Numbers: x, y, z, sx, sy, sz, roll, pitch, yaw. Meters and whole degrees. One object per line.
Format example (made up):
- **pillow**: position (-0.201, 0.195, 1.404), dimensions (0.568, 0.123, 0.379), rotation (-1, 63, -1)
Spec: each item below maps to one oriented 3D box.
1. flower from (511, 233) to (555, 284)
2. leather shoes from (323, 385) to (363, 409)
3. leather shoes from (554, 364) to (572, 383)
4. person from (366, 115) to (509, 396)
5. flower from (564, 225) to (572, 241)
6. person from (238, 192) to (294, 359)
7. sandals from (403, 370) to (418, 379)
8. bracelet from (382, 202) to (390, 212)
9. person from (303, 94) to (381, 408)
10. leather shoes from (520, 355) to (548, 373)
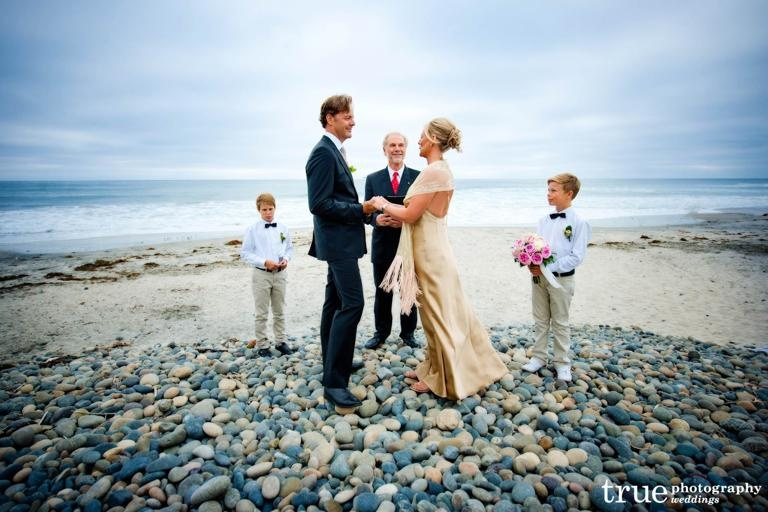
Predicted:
- **flower**: position (2.246, 0.118, 6.725), dimensions (0.672, 0.566, 0.611), rotation (1, 17, 23)
- **leather shoes**: position (-0.549, 1.886, 6.082), dimensions (0.506, 0.188, 0.232), rotation (6, 4, 32)
- **leather shoes**: position (2.598, 1.717, 6.588), dimensions (0.243, 0.223, 0.210), rotation (3, 10, 19)
- **person**: position (0.714, 0.085, 6.053), dimensions (1.579, 3.727, 0.769), rotation (2, 11, 12)
- **flower**: position (2.693, -0.333, 6.648), dimensions (0.110, 0.179, 0.061), rotation (10, -8, -20)
- **person**: position (-1.950, 0.309, 7.630), dimensions (0.799, 2.630, 0.802), rotation (-3, 11, -13)
- **sandals**: position (0.396, 1.757, 6.657), dimensions (0.195, 0.075, 0.090), rotation (9, -5, 24)
- **bracelet**: position (0.015, -0.645, 6.059), dimensions (0.042, 0.115, 0.123), rotation (16, -2, -34)
- **person**: position (-0.581, -0.033, 6.022), dimensions (0.787, 4.082, 0.836), rotation (-2, 10, -8)
- **leather shoes**: position (2.248, 1.661, 6.866), dimensions (0.437, 0.166, 0.166), rotation (0, -4, -35)
